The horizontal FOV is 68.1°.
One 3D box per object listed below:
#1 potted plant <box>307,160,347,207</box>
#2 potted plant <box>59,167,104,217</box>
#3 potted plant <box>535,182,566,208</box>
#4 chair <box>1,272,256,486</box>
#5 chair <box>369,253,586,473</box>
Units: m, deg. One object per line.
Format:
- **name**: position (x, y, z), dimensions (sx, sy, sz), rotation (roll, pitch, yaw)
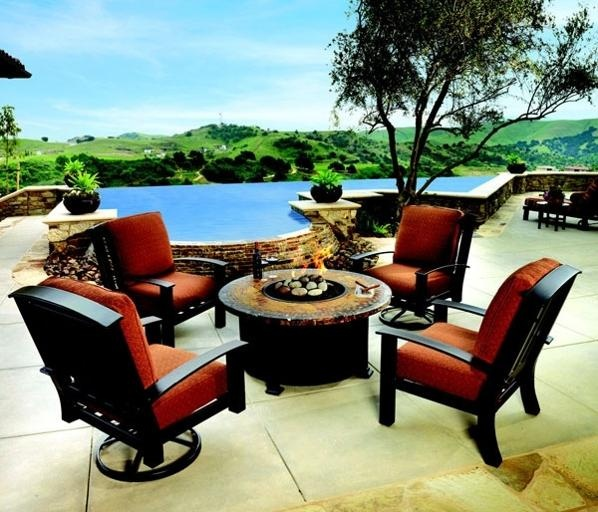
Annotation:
- **potted plant**: position (0.744, -1.355, 8.261), dimensions (1.117, 0.662, 0.757), rotation (-1, 8, -6)
- **potted plant**: position (-3.606, -1.047, 7.336), dimensions (0.584, 0.651, 0.885), rotation (-9, 18, -21)
- **potted plant**: position (6.081, -1.380, 10.436), dimensions (0.739, 0.460, 0.953), rotation (0, 4, -1)
- **chair**: position (-0.937, 0.648, 2.524), dimensions (1.214, 1.115, 0.553), rotation (-4, 20, -7)
- **chair**: position (1.169, 0.630, 3.078), dimensions (0.988, 1.296, 0.851), rotation (12, 24, 35)
